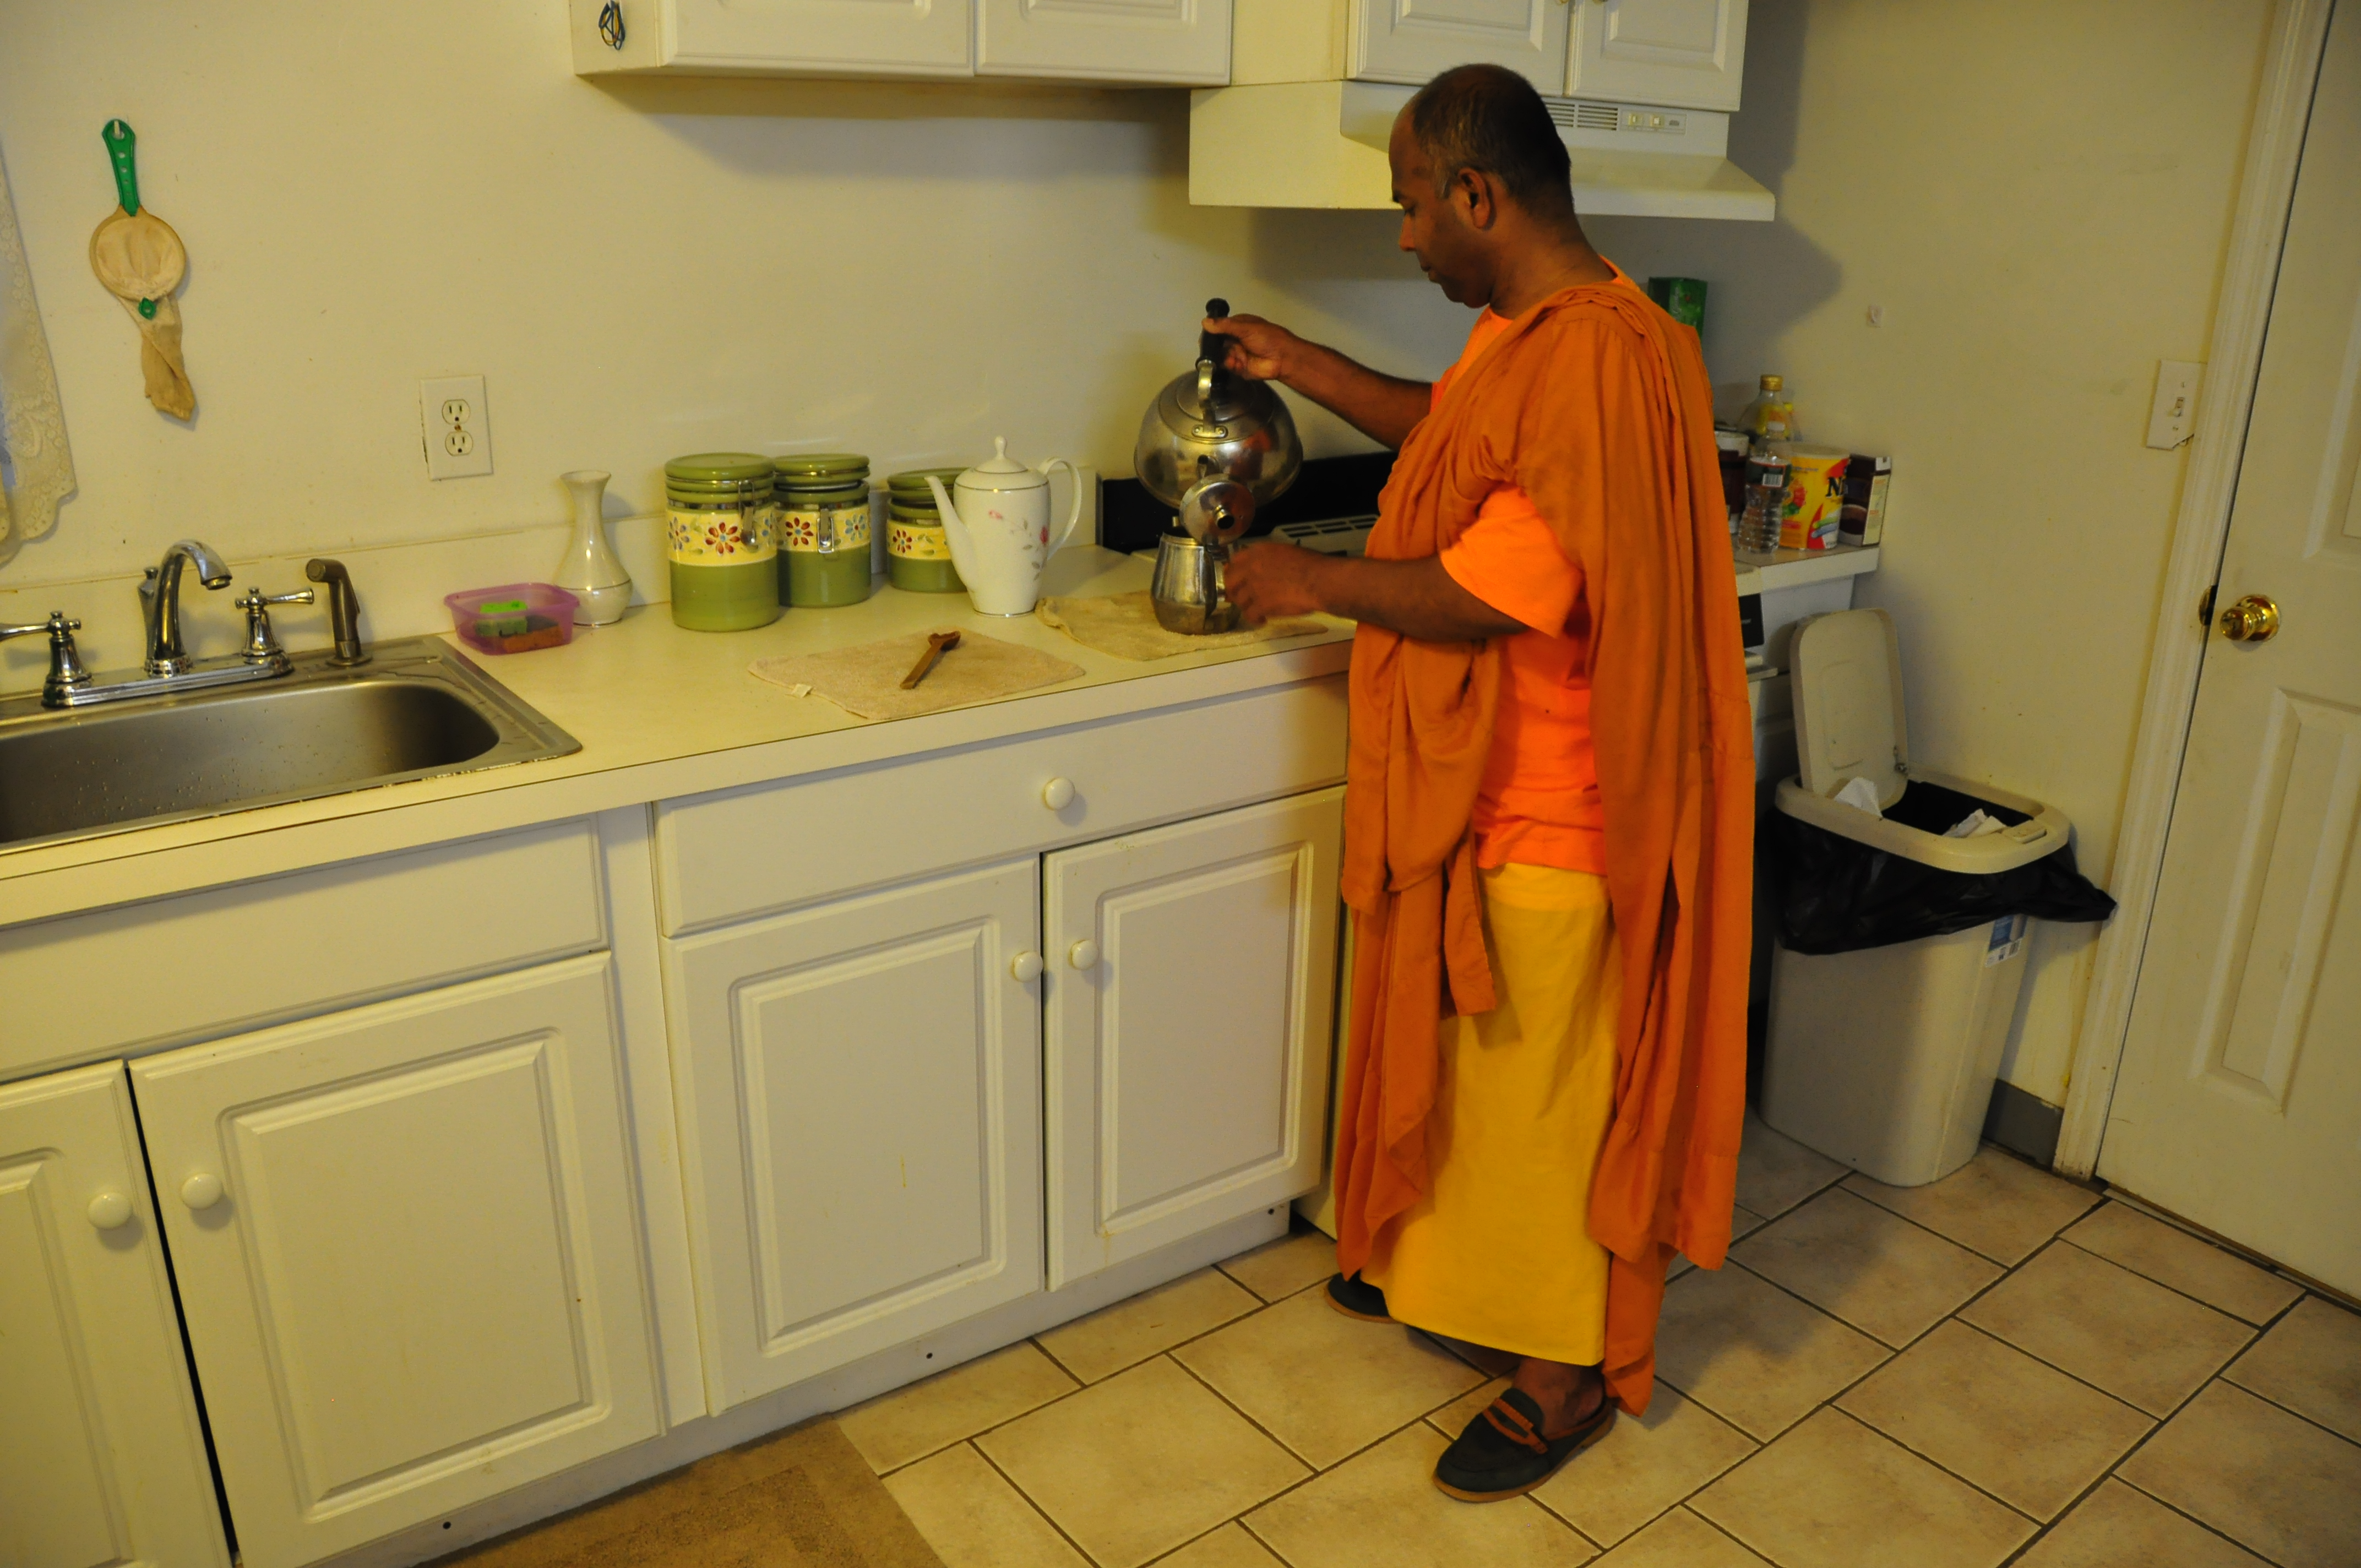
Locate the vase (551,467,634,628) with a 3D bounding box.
[{"bbox_3d":[-0.938,-0.377,2.678,0.106,0.233,0.122,-8,21,-9],"label":"vase"}]

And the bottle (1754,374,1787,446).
[{"bbox_3d":[1.210,-0.769,3.434,0.069,0.128,0.145,3,22,18],"label":"bottle"}]

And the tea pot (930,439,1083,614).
[{"bbox_3d":[-0.301,-0.422,2.792,0.143,0.231,0.251,26,35,38],"label":"tea pot"}]

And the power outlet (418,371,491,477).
[{"bbox_3d":[-1.118,-0.557,2.578,0.134,0.206,0.021,-12,24,-40],"label":"power outlet"}]

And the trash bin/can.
[{"bbox_3d":[1.403,0.210,3.266,0.418,1.040,0.443,-20,26,-35],"label":"trash bin/can"}]

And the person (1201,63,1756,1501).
[{"bbox_3d":[0.514,0.023,2.529,0.598,2.045,0.553,-10,22,-14],"label":"person"}]

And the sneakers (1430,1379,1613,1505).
[{"bbox_3d":[0.547,1.009,2.648,0.263,0.097,0.129,-17,26,-28],"label":"sneakers"}]

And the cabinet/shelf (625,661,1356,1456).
[{"bbox_3d":[-0.379,0.351,2.842,1.229,1.107,0.647,-11,19,-38],"label":"cabinet/shelf"}]

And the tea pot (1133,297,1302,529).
[{"bbox_3d":[0.057,-0.573,2.801,0.281,0.261,0.370,1,54,0],"label":"tea pot"}]
